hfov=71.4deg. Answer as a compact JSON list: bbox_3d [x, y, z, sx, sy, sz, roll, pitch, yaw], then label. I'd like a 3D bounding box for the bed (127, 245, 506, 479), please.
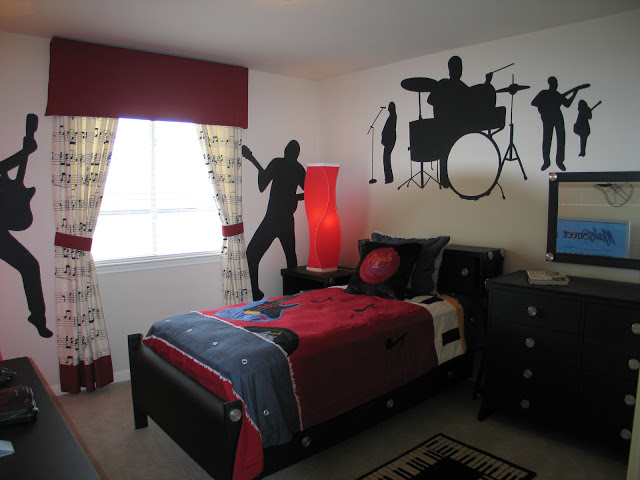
[{"bbox_3d":[0.032,0.750,3.185,1.172,0.879,1.940,11,17,44],"label":"bed"}]
